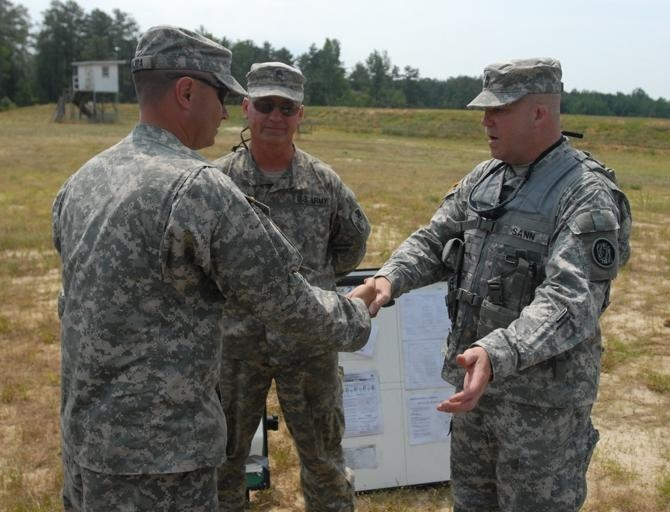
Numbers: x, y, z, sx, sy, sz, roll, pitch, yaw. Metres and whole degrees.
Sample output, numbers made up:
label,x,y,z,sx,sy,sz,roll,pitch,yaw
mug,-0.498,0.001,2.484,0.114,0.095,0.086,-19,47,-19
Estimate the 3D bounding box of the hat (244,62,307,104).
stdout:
label,x,y,z,sx,sy,sz,roll,pitch,yaw
hat,-0.470,-1.361,6.514,0.304,0.222,0.410,1,1,-5
